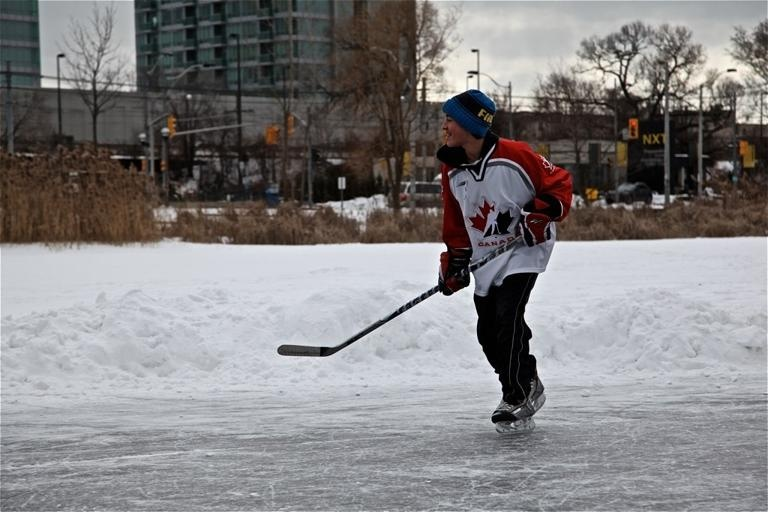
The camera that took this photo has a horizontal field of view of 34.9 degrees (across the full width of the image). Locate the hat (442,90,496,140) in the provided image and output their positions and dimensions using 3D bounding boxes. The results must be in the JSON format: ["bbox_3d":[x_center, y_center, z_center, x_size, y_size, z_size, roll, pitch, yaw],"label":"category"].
[{"bbox_3d":[1.013,-1.706,14.652,0.613,0.588,0.337,-2,1,2],"label":"hat"}]

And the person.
[{"bbox_3d":[1.412,0.044,14.748,1.515,4.087,0.516,-2,1,2],"label":"person"}]
